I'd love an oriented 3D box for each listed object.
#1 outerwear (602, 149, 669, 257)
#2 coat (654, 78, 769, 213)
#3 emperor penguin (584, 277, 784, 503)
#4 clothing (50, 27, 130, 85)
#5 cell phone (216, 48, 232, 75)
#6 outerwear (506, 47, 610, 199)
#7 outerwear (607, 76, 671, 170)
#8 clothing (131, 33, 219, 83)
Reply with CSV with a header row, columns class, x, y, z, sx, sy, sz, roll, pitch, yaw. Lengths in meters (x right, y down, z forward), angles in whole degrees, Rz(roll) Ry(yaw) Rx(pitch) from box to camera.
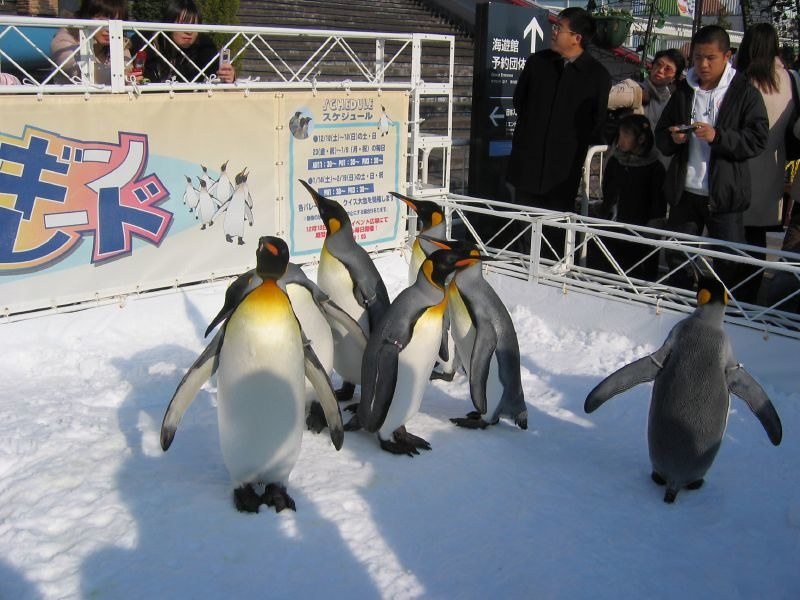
class,x,y,z,sx,sy,sz,roll,pitch,yaw
outerwear,2.251,-0.930,6.320,0.386,1.013,0.740,-23,32,-30
coat,2.558,-1.301,5.497,0.690,1.123,0.849,-21,26,-36
emperor penguin,1.623,0.491,3.712,0.976,1.189,0.589,3,19,2
clothing,-2.684,-2.117,5.745,0.614,0.476,1.390,-9,20,-25
cell phone,-1.601,-2.185,6.085,0.129,0.254,0.059,0,23,-16
outerwear,1.598,-1.790,6.741,0.957,1.373,0.366,4,18,14
outerwear,2.446,-1.796,6.757,0.459,0.702,1.433,-6,8,7
clothing,-2.080,-2.296,6.281,0.712,0.449,1.802,-6,19,-16
